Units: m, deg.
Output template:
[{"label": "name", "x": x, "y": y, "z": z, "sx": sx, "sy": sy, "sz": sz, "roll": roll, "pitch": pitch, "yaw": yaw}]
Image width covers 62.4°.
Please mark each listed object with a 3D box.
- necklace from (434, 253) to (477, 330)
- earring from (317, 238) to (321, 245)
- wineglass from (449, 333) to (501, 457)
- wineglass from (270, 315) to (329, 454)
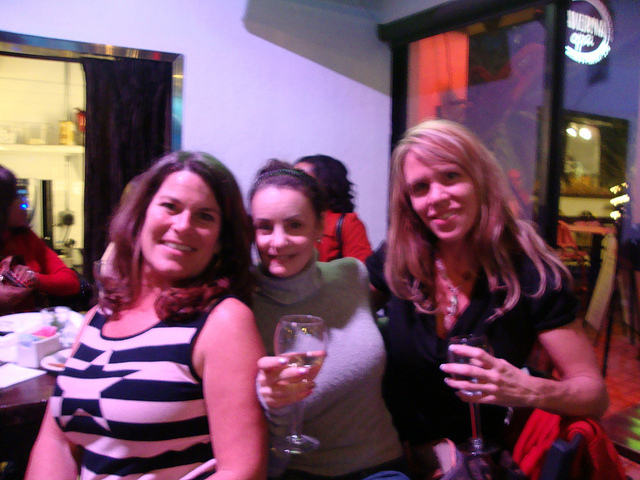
[{"label": "necklace", "x": 0.603, "y": 0.260, "z": 2.496, "sx": 0.179, "sy": 0.315, "sz": 0.077, "roll": 2, "pitch": -7, "yaw": 21}, {"label": "earring", "x": -0.005, "y": 0.002, "z": 2.486, "sx": 0.016, "sy": 0.021, "sz": 0.022, "roll": -1, "pitch": -7, "yaw": 4}, {"label": "wineglass", "x": 0.645, "y": 0.693, "z": 2.237, "sx": 0.191, "sy": 0.567, "sz": 0.198, "roll": 12, "pitch": 12, "yaw": 35}, {"label": "wineglass", "x": -0.084, "y": 0.597, "z": 2.079, "sx": 0.229, "sy": 0.604, "sz": 0.280, "roll": -1, "pitch": 4, "yaw": -7}]
